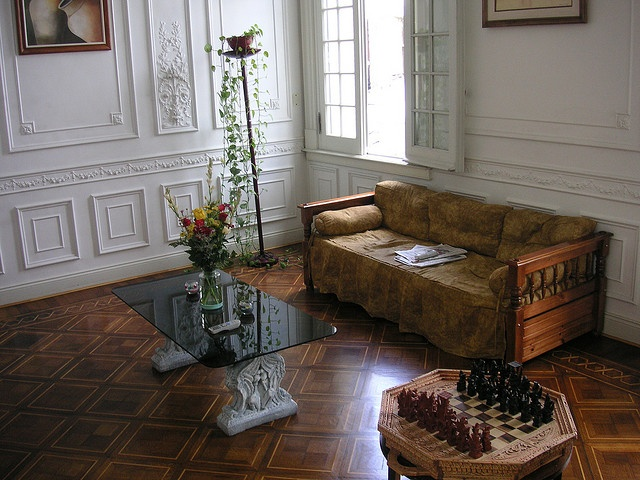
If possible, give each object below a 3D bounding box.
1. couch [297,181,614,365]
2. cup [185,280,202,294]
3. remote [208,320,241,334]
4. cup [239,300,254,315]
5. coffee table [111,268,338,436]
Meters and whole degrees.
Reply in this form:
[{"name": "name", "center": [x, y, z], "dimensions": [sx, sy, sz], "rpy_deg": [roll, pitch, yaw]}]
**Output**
[{"name": "couch", "center": [1.051, 0.199, 4.028], "dimensions": [2.319, 0.990, 1.094], "rpy_deg": [14, 25, 41]}, {"name": "cup", "center": [-0.943, 0.347, 3.516], "dimensions": [0.093, 0.077, 0.096], "rpy_deg": [10, 11, -2]}, {"name": "remote", "center": [-0.607, 0.547, 2.996], "dimensions": [0.156, 0.042, 0.079], "rpy_deg": [-14, 16, -27]}, {"name": "cup", "center": [-0.501, 0.457, 3.225], "dimensions": [0.080, 0.066, 0.082], "rpy_deg": [2, 13, 0]}, {"name": "coffee table", "center": [-0.654, 0.644, 3.230], "dimensions": [0.792, 0.814, 1.519], "rpy_deg": [-19, 24, -39]}]
